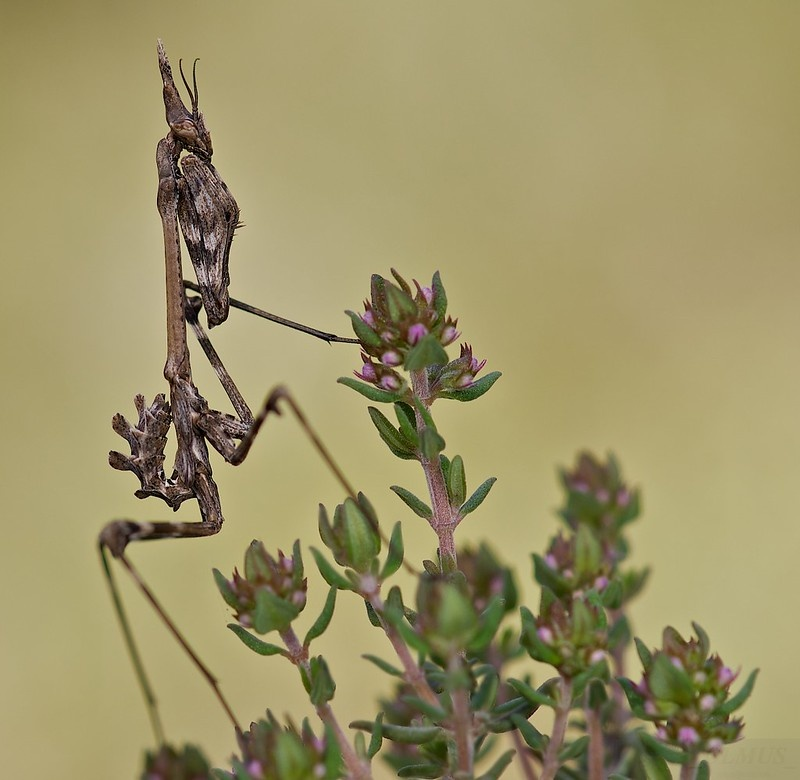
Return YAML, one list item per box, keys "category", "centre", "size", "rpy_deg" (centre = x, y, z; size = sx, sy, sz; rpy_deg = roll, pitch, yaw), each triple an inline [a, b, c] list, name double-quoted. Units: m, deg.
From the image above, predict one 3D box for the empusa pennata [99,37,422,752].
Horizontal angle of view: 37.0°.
- category: "empusa pennata"
  centre: [-0.132, 0.038, 1.020]
  size: [0.232, 0.698, 0.383]
  rpy_deg: [7, -49, -13]
